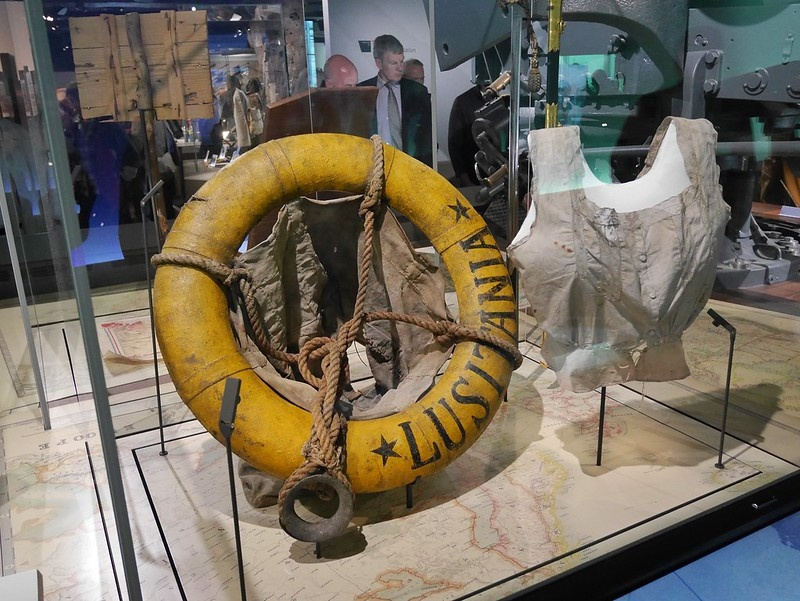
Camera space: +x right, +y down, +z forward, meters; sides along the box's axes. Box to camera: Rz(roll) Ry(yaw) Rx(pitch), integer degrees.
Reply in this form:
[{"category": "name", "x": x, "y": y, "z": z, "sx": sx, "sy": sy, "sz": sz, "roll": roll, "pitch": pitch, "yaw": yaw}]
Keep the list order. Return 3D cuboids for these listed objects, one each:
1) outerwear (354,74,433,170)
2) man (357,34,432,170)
[{"category": "outerwear", "x": -0.025, "y": -1.047, "z": 3.551, "sx": 0.408, "sy": 0.464, "sz": 0.119, "roll": -20, "pitch": 12, "yaw": -38}, {"category": "man", "x": -0.044, "y": -0.974, "z": 3.407, "sx": 0.440, "sy": 0.986, "sz": 0.296, "roll": -8, "pitch": 36, "yaw": -7}]
